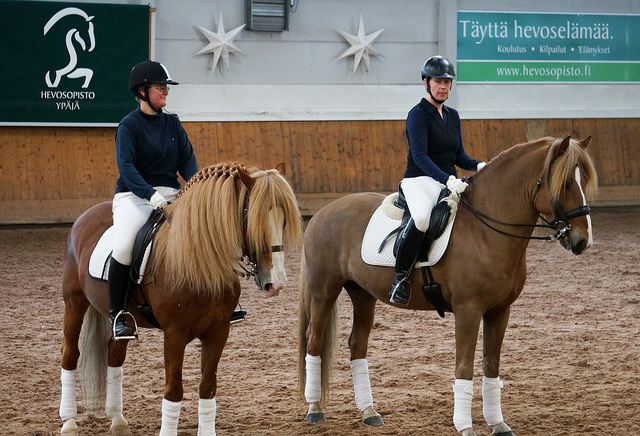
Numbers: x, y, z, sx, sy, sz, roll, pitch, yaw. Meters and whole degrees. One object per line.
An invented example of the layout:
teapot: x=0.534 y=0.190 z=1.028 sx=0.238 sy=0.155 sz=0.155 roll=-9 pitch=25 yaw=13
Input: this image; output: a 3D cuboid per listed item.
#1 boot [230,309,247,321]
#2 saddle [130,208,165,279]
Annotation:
boot: x=-1.011 y=1.177 z=14.782 sx=0.160 sy=0.135 sz=0.301 roll=0 pitch=11 yaw=6
saddle: x=-2.111 y=0.302 z=14.552 sx=0.440 sy=0.803 sz=0.190 roll=-6 pitch=11 yaw=-27
